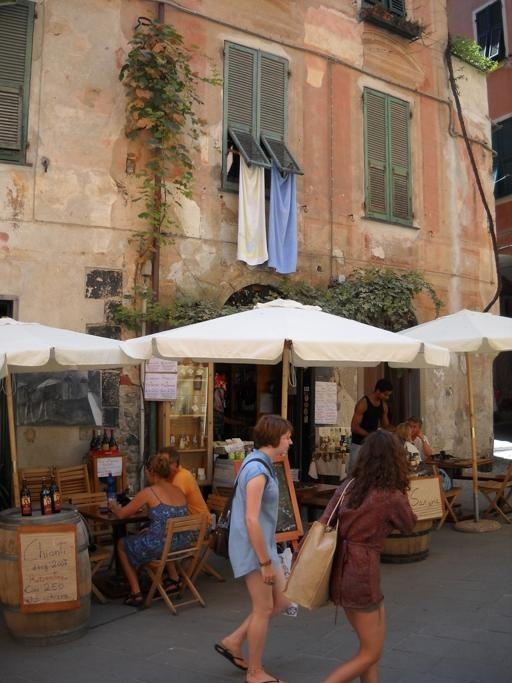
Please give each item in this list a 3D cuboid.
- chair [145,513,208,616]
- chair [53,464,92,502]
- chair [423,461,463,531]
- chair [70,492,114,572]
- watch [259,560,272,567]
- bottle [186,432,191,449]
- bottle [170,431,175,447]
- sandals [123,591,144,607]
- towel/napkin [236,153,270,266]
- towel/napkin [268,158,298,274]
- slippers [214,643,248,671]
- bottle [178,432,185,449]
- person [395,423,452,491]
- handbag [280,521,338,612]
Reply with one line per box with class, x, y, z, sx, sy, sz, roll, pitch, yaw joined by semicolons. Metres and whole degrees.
chair;-0.624;1.651;5.030;0.423;0.644;0.466;-7;-10;29
chair;-1.932;1.490;7.205;0.394;0.583;0.407;1;-4;-34
chair;2.282;1.818;7.935;0.329;0.532;0.309;3;1;1
chair;-1.502;1.800;6.093;0.374;0.673;0.597;2;-18;-18
watch;0.055;1.072;3.256;0.036;0.015;0.037;-8;-2;34
bottle;-0.847;1.238;8.431;0.081;0.159;0.042;2;-7;-40
bottle;-1.028;1.205;8.272;0.067;0.148;0.205;-2;-5;-7
sandals;-0.891;1.914;4.999;0.165;0.088;0.162;1;-6;-32
towel/napkin;-0.052;-1.832;9.415;0.520;1.465;0.197;2;-7;-39
towel/napkin;0.364;-1.813;9.636;0.513;1.596;0.217;1;-7;-34
slippers;-0.147;1.693;3.613;0.064;0.240;0.095;-34;23;15
bottle;-0.930;1.234;8.370;0.077;0.165;0.124;-6;-7;35
person;1.926;1.349;7.677;0.515;0.882;0.377;-15;-4;18
handbag;0.248;0.994;2.968;0.247;0.382;0.173;-3;-5;1
